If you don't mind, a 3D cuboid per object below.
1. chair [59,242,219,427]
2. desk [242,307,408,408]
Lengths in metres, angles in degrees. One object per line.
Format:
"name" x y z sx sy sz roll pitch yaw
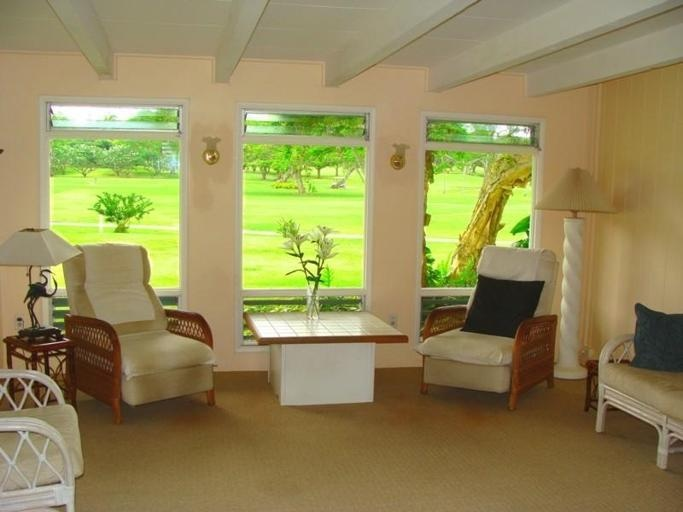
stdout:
"chair" -1.746 0.580 4.497 1.203 1.268 0.957 9 12 43
"desk" -0.189 0.905 4.731 1.218 0.650 0.840 0 9 -11
